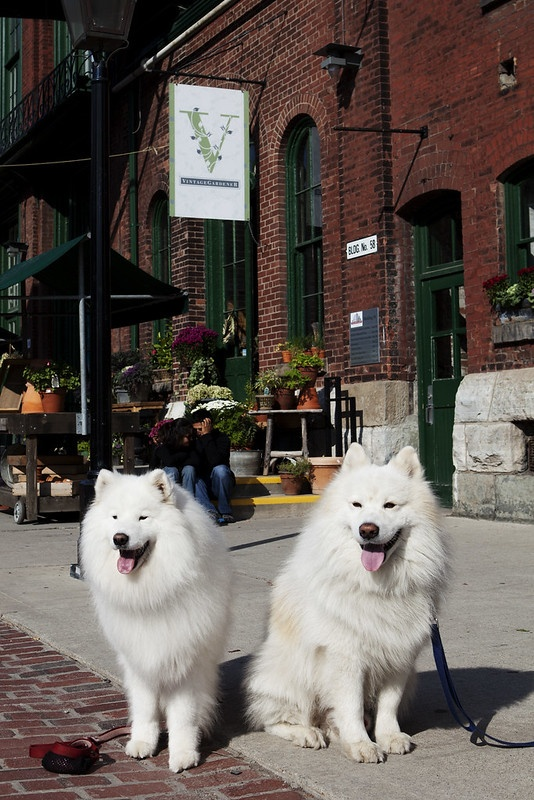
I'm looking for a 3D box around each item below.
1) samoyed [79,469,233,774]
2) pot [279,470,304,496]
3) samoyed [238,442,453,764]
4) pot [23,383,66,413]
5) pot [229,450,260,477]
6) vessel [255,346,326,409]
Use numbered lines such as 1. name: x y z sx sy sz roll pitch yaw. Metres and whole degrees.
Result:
1. samoyed: -0.423 0.821 4.278 0.576 1.129 0.468 -1 2 -6
2. pot: 0.287 0.929 12.383 0.230 0.203 0.248 0 -4 0
3. samoyed: 0.326 0.764 4.368 0.480 1.199 0.759 -2 2 -40
4. pot: -2.532 -0.045 12.462 0.429 0.315 0.631 -2 2 -20
5. pot: -0.230 0.741 12.989 0.282 0.198 0.303 -1 -6 0
6. vessel: 0.289 -0.344 13.560 0.745 0.820 0.788 0 -4 0
